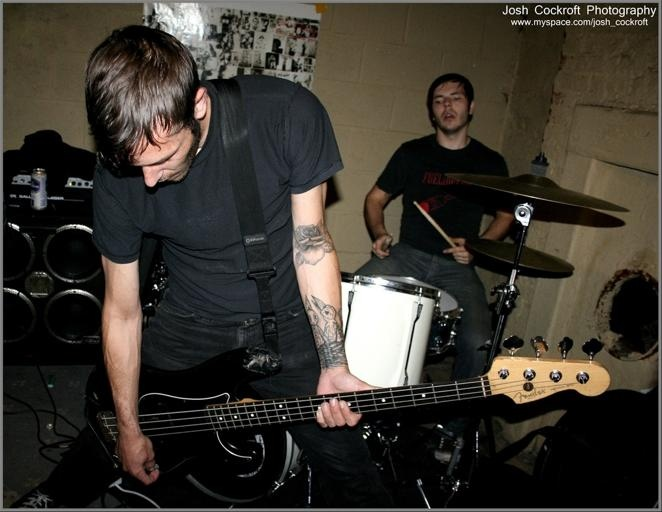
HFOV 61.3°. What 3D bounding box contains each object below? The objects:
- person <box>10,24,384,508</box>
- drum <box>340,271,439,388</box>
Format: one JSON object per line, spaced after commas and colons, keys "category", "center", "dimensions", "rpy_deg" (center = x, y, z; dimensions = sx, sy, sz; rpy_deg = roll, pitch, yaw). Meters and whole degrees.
{"category": "person", "center": [-0.498, 0.091, 2.419], "dimensions": [1.040, 1.962, 0.607], "rpy_deg": [1, 11, -21]}
{"category": "drum", "center": [0.256, 0.383, 3.394], "dimensions": [0.601, 0.609, 0.601], "rpy_deg": [4, 14, -12]}
